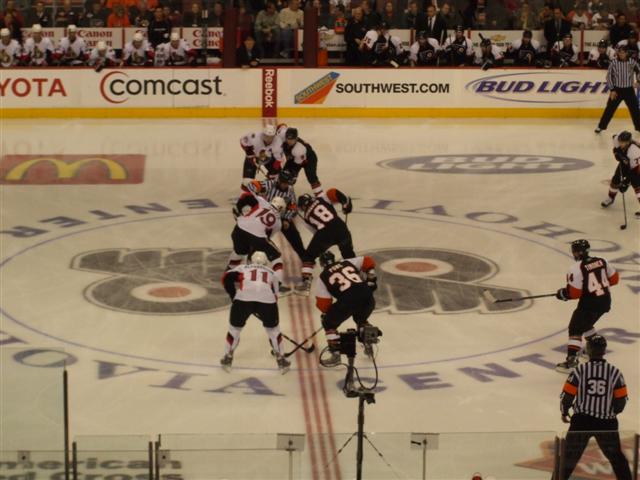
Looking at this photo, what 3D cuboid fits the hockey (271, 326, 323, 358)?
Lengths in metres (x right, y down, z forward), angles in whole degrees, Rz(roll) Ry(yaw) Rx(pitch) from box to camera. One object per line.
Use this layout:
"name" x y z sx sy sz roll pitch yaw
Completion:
"hockey" -0.275 1.375 15.217 0.441 0.015 0.418 -24 28 -39

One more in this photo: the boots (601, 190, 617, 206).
"boots" 4.977 -0.726 19.547 0.234 0.110 0.219 -39 -13 -15

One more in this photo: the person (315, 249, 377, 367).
"person" 0.333 0.918 14.845 0.777 1.411 1.362 -1 10 0

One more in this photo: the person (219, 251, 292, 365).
"person" -0.882 0.945 14.638 0.879 1.496 0.583 2 11 14

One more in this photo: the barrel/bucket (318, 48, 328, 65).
"barrel/bucket" 0.036 -4.157 25.602 0.184 0.394 0.493 0 9 6

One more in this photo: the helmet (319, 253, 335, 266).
"helmet" 0.083 0.250 14.946 0.173 0.169 0.198 -3 21 -14

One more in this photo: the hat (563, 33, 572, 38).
"hat" 5.446 -4.548 25.082 0.247 0.079 0.314 1 13 8

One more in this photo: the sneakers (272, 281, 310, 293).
"sneakers" -0.424 0.682 16.689 0.584 0.198 0.176 5 15 2

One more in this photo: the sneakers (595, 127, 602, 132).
"sneakers" 5.816 -2.326 23.754 0.134 0.121 0.341 0 6 10

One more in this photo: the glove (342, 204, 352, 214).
"glove" 0.392 -0.461 16.942 0.152 0.112 0.127 -1 2 -7

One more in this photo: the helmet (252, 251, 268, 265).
"helmet" -0.801 0.245 14.737 0.186 0.162 0.187 0 -10 3

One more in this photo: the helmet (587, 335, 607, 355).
"helmet" 3.154 1.211 13.018 0.214 0.234 0.231 8 49 10
